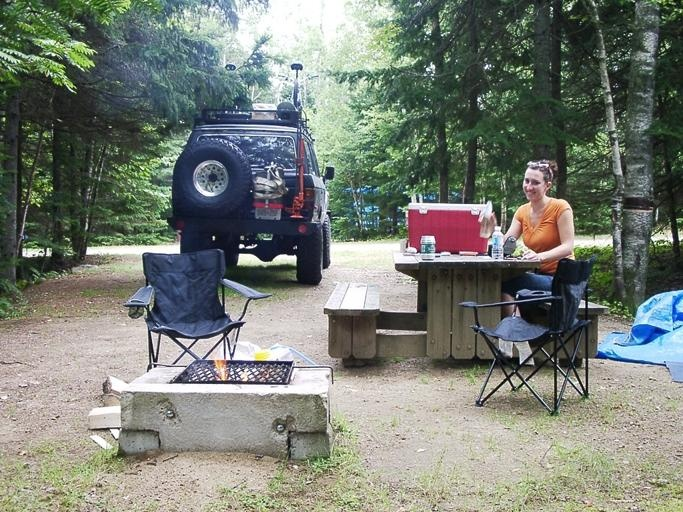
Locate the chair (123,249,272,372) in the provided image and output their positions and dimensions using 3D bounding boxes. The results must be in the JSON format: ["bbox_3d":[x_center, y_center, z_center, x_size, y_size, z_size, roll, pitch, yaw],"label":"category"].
[{"bbox_3d":[-1.305,0.482,5.887,0.897,1.046,0.979,-3,4,-9],"label":"chair"}]

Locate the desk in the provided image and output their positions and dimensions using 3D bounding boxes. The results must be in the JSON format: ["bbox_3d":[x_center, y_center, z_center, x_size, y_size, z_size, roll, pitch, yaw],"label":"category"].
[{"bbox_3d":[1.169,0.404,6.727,0.926,0.741,1.542,5,-7,-12],"label":"desk"}]

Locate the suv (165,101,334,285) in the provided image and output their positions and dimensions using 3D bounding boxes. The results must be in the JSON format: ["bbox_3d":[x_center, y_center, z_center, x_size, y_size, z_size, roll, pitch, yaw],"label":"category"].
[{"bbox_3d":[-1.239,-1.034,10.329,1.797,1.955,3.333,2,9,3],"label":"suv"}]

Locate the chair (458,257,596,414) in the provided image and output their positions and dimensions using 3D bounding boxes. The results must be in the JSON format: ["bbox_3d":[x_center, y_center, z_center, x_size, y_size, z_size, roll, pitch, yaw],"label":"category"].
[{"bbox_3d":[1.580,0.622,5.668,0.960,1.217,1.138,0,2,22],"label":"chair"}]

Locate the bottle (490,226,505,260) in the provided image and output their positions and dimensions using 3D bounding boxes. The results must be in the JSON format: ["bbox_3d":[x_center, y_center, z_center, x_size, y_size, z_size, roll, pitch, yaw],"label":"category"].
[{"bbox_3d":[1.441,-0.127,6.291,0.111,0.289,0.369,-1,4,14],"label":"bottle"}]

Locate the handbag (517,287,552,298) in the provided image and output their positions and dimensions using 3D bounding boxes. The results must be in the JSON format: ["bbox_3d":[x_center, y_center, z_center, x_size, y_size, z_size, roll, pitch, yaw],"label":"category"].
[{"bbox_3d":[1.528,0.317,5.415,0.267,0.087,0.468,-1,4,14],"label":"handbag"}]

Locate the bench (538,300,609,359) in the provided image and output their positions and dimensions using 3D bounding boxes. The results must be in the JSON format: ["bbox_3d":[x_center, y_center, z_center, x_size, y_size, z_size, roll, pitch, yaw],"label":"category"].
[{"bbox_3d":[2.097,0.609,6.150,0.646,0.484,0.522,0,-7,3],"label":"bench"}]

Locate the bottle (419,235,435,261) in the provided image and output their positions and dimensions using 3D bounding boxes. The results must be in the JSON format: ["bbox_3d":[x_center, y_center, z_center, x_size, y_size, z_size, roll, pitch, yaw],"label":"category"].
[{"bbox_3d":[0.788,-0.080,6.236,0.120,0.212,0.141,-2,4,0],"label":"bottle"}]

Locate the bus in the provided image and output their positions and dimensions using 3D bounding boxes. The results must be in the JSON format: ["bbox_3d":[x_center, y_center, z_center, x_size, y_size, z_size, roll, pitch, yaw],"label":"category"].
[{"bbox_3d":[2.918,-1.925,28.617,6.019,2.827,2.000,-2,3,-4],"label":"bus"}]
